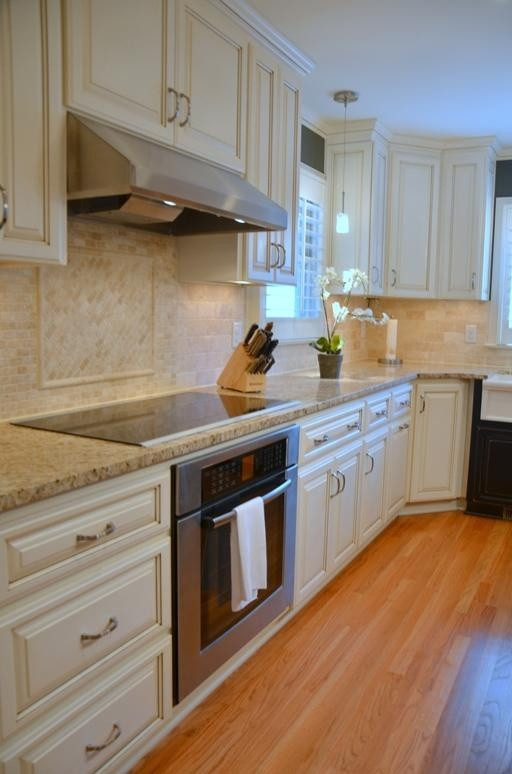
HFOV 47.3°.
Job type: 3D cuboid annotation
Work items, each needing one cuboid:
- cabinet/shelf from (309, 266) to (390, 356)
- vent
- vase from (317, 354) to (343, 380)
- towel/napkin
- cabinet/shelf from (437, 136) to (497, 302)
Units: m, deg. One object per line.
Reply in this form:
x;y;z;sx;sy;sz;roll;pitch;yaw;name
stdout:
0.579;-0.436;3.527;0.376;0.516;0.362;9;15;-5;cabinet/shelf
-0.262;-0.604;1.721;0.358;0.254;0.783;3;5;25;vent
0.361;-0.098;2.899;0.142;0.149;0.112;5;12;26;vase
-0.015;0.486;1.632;0.098;0.213;0.033;6;-13;-44;towel/napkin
1.325;-1.038;3.724;0.292;0.948;0.103;2;5;10;cabinet/shelf
